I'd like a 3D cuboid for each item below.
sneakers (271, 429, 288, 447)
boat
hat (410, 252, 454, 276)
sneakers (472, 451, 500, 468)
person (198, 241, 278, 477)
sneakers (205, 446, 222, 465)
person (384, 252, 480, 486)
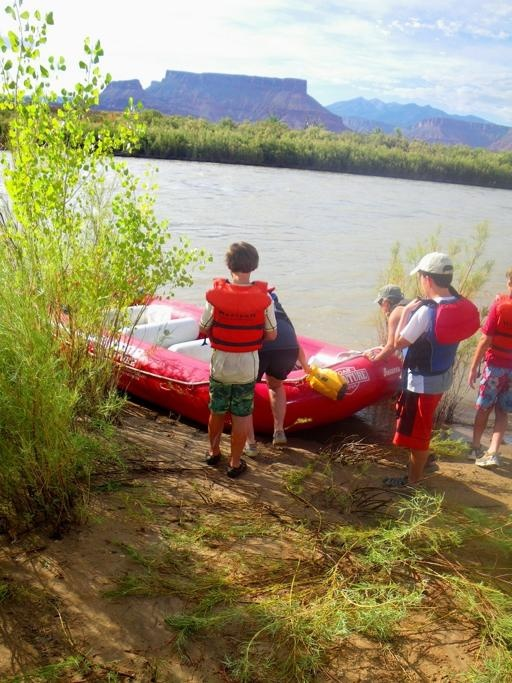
[{"bbox_3d":[0.187,0.675,4.083,0.064,0.163,0.067,-2,61,-1],"label":"sneakers"},{"bbox_3d":[-0.540,0.055,4.764,2.093,0.426,1.306,17,22,40],"label":"boat"},{"bbox_3d":[1.001,-0.445,3.284,0.144,0.087,0.183,-6,16,-24],"label":"hat"},{"bbox_3d":[1.678,0.874,4.210,0.081,0.076,0.180,4,-6,-24],"label":"sneakers"},{"bbox_3d":[-0.129,0.112,3.396,0.355,1.394,0.304,15,21,25],"label":"person"},{"bbox_3d":[-0.259,0.711,3.598,0.148,0.080,0.315,0,0,-3],"label":"sneakers"},{"bbox_3d":[1.000,0.199,3.400,0.432,1.430,0.271,12,19,17],"label":"person"}]
